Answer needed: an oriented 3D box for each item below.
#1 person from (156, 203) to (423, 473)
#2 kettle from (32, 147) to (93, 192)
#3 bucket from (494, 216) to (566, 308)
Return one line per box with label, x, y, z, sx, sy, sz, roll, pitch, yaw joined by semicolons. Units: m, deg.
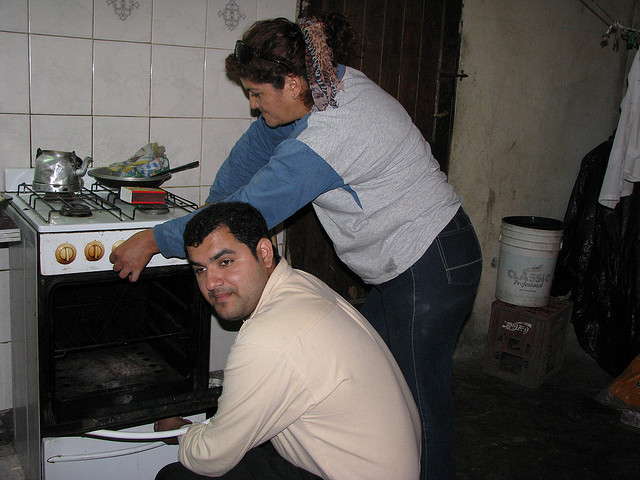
person;-0.029;0.228;2.250;0.921;1.545;0.657;2;15;12
kettle;-1.245;-0.319;2.532;0.256;0.210;0.167;3;2;-43
bucket;1.421;0.162;3.633;0.380;0.562;0.204;9;17;27
